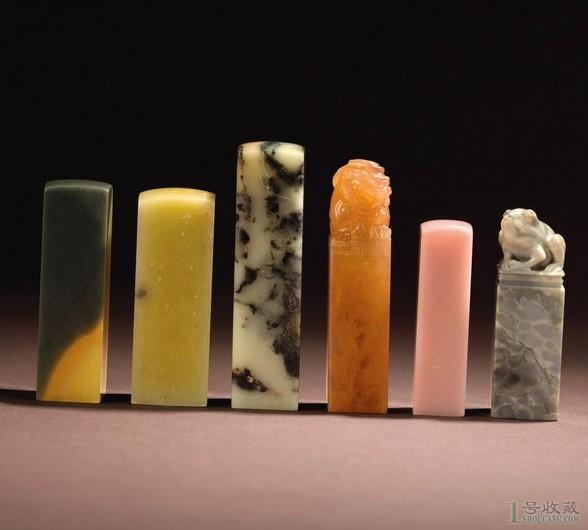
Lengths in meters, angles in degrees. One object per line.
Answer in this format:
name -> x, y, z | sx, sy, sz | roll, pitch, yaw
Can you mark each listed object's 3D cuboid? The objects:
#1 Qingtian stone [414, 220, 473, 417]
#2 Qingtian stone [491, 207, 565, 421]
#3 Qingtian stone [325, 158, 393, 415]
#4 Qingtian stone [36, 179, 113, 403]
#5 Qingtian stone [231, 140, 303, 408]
Qingtian stone -> 0.645, 0.224, 3.412 | 0.229, 0.859, 0.289 | 2, -8, 8
Qingtian stone -> 1.028, 0.216, 3.461 | 0.295, 0.915, 0.209 | 1, -8, 12
Qingtian stone -> 0.287, 0.087, 3.458 | 0.277, 1.112, 0.186 | 2, -8, 3
Qingtian stone -> -0.973, 0.113, 3.469 | 0.294, 0.967, 0.200 | 4, -8, -9
Qingtian stone -> -0.113, 0.047, 3.456 | 0.310, 1.162, 0.216 | 3, -8, -1
